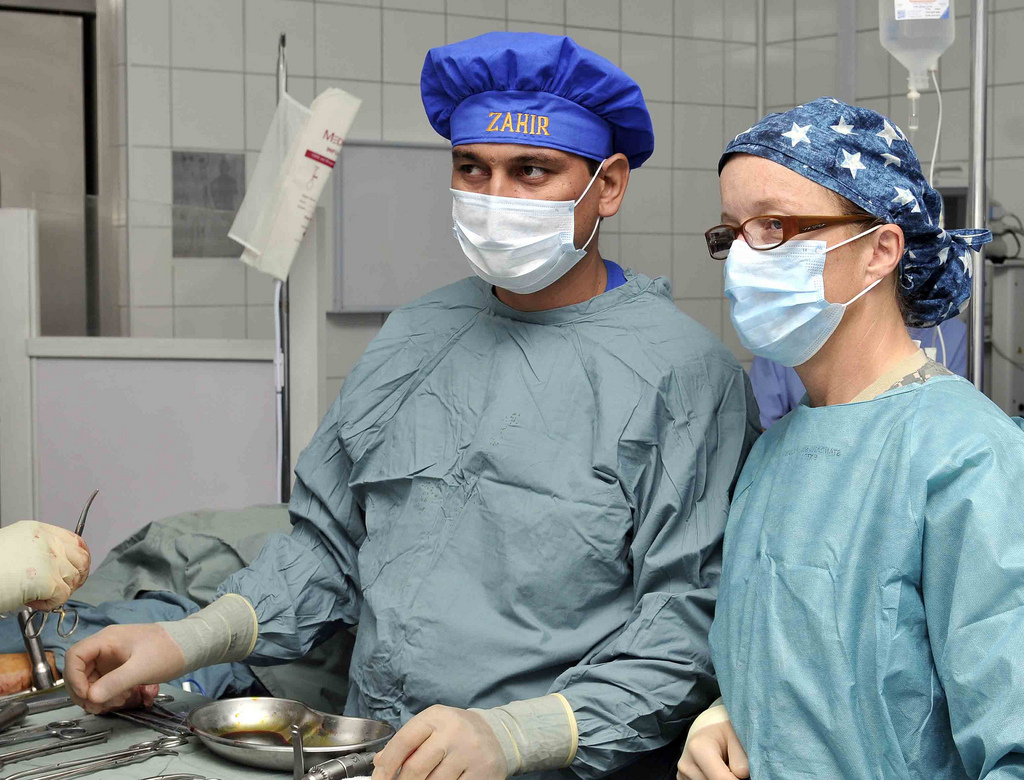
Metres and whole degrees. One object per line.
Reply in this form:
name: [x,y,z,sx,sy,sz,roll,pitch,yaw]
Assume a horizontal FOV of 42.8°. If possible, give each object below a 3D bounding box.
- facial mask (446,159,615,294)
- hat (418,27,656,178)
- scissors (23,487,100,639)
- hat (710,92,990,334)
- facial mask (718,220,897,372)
facial mask: [0.031,-0.261,2.236,0.209,0.177,0.228,-6,-5,-21]
hat: [0.019,-0.522,2.483,0.418,0.203,0.478,0,-5,15]
scissors: [-0.875,0.348,2.574,0.024,0.336,0.104,31,21,30]
hat: [0.424,-0.294,2.214,0.570,0.259,0.520,-7,1,9]
facial mask: [0.450,-0.136,1.989,0.196,0.183,0.189,-16,8,-4]
